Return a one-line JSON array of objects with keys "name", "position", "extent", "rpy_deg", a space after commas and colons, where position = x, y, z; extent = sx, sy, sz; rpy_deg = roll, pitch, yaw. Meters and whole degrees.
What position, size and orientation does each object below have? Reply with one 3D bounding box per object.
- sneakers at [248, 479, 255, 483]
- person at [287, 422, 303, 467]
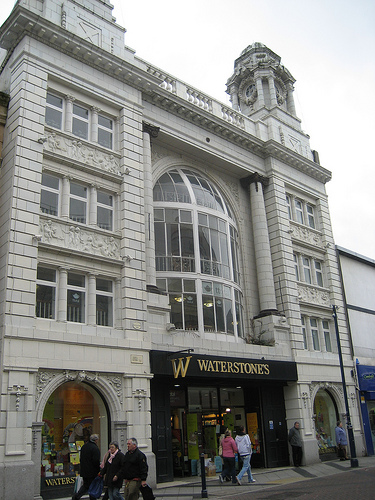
[{"name": "sneakers", "position": [2.189, 7.763, 16.532], "extent": [0.290, 0.105, 0.098], "rpy_deg": [11, -16, -43]}, {"name": "person", "position": [4.796, 8.588, 21.688], "extent": [0.565, 1.842, 1.140], "rpy_deg": [-9, -21, 9]}]
